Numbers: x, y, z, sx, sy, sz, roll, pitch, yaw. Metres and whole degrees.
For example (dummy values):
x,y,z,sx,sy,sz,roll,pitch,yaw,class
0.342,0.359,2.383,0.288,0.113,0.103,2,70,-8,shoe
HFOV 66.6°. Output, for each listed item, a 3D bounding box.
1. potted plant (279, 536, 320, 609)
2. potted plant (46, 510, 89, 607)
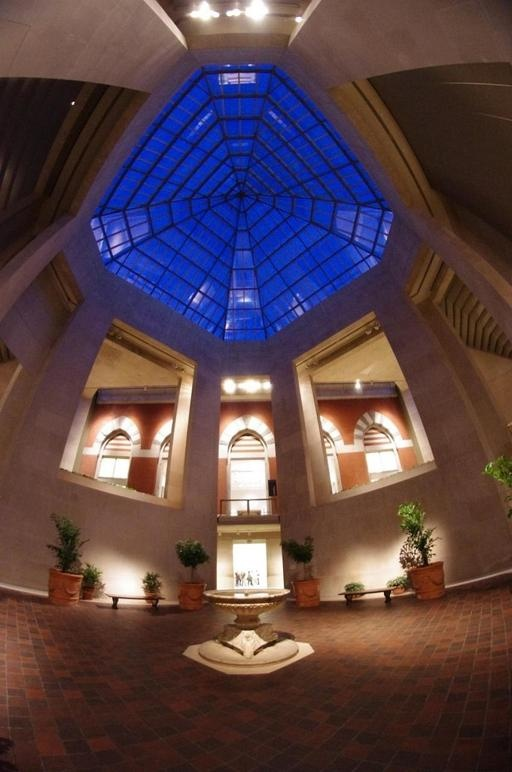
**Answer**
x,y,z,sx,sy,sz,roll,pitch,yaw,class
1.107,4.567,9.722,1.087,1.492,0.785,5,-15,-7,potted plant
-3.910,3.508,8.123,0.805,1.772,1.830,9,-30,-20,potted plant
